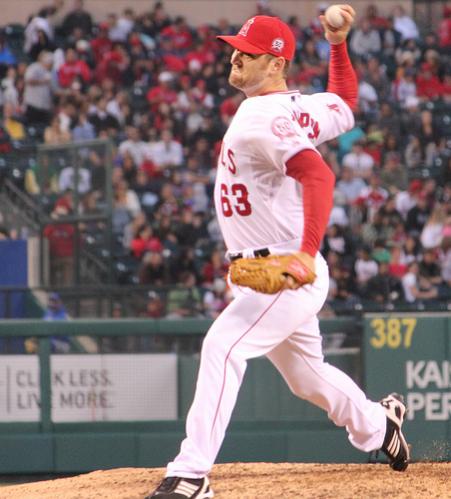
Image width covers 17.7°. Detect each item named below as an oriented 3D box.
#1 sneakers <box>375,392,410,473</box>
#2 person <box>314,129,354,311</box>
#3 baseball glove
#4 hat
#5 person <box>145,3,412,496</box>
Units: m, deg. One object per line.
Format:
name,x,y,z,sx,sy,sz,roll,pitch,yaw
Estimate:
sneakers,0.894,0.945,7.471,0.127,0.386,0.192,-1,29,39
person,0.640,-0.055,8.926,0.217,0.987,0.293,2,-28,-8
baseball glove,0.210,0.112,6.826,0.312,0.127,0.193,-4,23,33
hat,0.164,-1.005,7.069,0.302,0.159,0.200,9,17,-15
person,0.303,0.001,7.070,1.256,2.381,0.695,0,-1,-36
